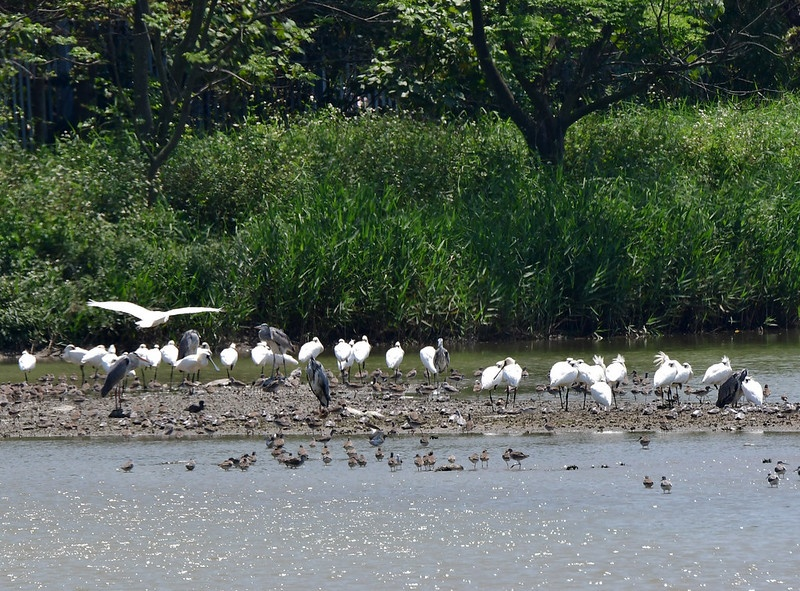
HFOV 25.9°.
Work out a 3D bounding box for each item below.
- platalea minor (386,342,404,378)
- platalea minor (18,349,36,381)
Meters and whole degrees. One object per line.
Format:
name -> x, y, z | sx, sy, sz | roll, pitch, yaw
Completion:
platalea minor -> -0.166, 1.181, 33.029 | 0.225, 0.577, 0.643 | 11, 11, 0
platalea minor -> -7.301, 1.310, 33.368 | 0.307, 0.628, 0.947 | -3, 2, -9
